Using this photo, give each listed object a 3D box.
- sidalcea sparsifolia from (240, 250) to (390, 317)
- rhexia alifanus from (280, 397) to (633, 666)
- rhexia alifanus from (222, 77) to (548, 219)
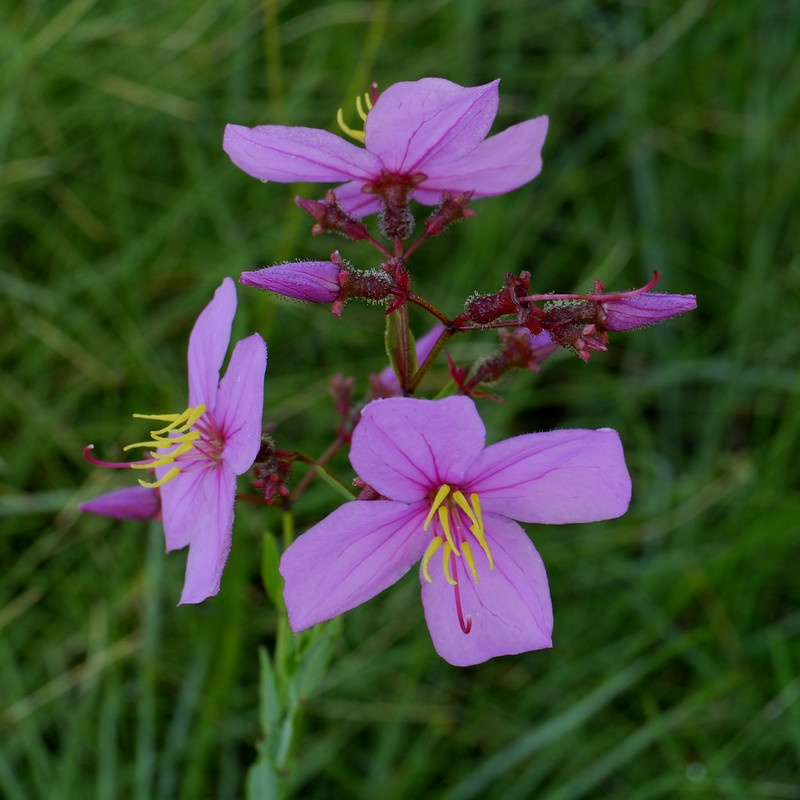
[{"bbox_3d":[-0.204,-0.302,2.556,0.444,0.153,0.149,2,28,-12],"label":"sidalcea sparsifolia"},{"bbox_3d":[0.136,0.335,2.374,0.826,0.658,0.525,2,61,14],"label":"rhexia alifanus"},{"bbox_3d":[0.004,-0.661,2.557,0.607,0.504,0.202,-22,62,5],"label":"rhexia alifanus"}]
